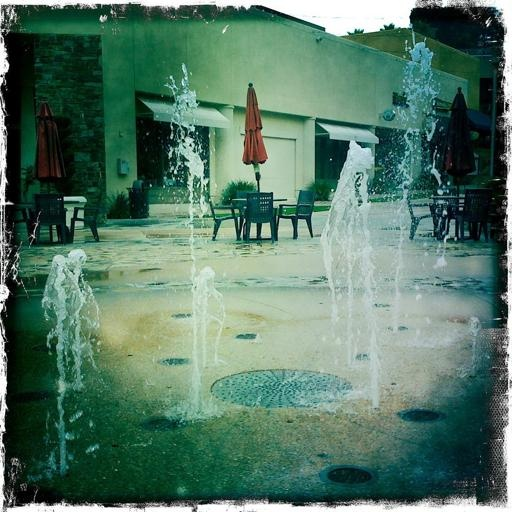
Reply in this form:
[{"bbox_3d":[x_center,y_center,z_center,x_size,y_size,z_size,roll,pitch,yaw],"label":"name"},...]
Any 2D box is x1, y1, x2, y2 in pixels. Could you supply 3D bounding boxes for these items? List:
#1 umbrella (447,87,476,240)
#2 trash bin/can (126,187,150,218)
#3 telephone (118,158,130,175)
[{"bbox_3d":[4.087,-2.242,11.553,0.557,2.163,0.841,0,6,7],"label":"umbrella"},{"bbox_3d":[-3.602,-1.707,18.205,0.704,1.274,0.791,1,15,-6],"label":"trash bin/can"},{"bbox_3d":[-4.257,-2.906,18.681,0.137,0.468,0.472,1,6,16],"label":"telephone"}]
